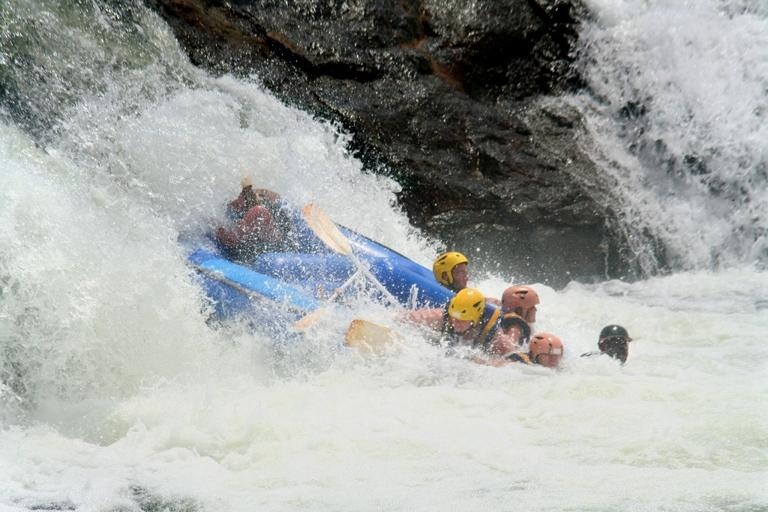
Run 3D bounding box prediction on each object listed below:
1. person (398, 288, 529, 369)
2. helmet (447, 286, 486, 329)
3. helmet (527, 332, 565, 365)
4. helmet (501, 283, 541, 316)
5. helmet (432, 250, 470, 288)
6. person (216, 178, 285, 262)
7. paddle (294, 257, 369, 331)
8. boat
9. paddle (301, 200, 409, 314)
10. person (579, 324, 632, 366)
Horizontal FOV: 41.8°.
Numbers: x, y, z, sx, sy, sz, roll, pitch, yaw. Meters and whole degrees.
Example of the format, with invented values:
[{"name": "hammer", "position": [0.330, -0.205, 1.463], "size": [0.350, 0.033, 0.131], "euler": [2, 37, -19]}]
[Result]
[{"name": "person", "position": [0.992, 0.753, 12.188], "size": [1.804, 0.710, 0.950], "euler": [9, 20, 20]}, {"name": "helmet", "position": [0.984, 0.591, 12.089], "size": [0.369, 0.386, 0.436], "euler": [24, -44, 21]}, {"name": "helmet", "position": [1.910, 1.087, 11.991], "size": [0.407, 0.345, 0.326], "euler": [20, -4, 5]}, {"name": "helmet", "position": [1.713, 0.532, 12.657], "size": [0.451, 0.372, 0.323], "euler": [-6, 3, 0]}, {"name": "helmet", "position": [0.899, 0.199, 13.075], "size": [0.488, 0.502, 0.445], "euler": [-12, -10, -8]}, {"name": "person", "position": [-1.695, -0.403, 12.743], "size": [0.842, 1.003, 0.430], "euler": [14, -9, -21]}, {"name": "paddle", "position": [-0.629, 0.462, 12.357], "size": [0.245, 1.126, 0.945], "euler": [8, -14, 27]}, {"name": "boat", "position": [-0.683, 0.723, 12.859], "size": [3.603, 1.615, 1.128], "euler": [20, -42, -10]}, {"name": "paddle", "position": [-0.420, 0.037, 12.946], "size": [2.000, 0.236, 0.148], "euler": [43, -16, 6]}, {"name": "person", "position": [2.824, 1.060, 12.369], "size": [0.859, 0.426, 0.536], "euler": [12, 3, 15]}]
